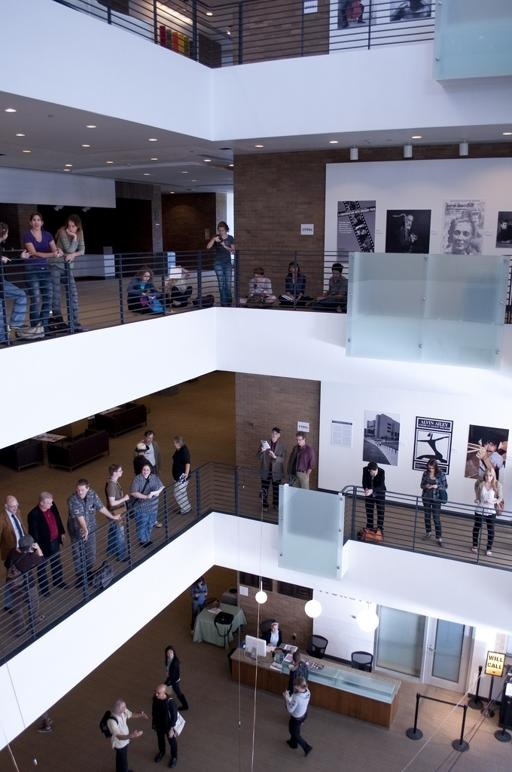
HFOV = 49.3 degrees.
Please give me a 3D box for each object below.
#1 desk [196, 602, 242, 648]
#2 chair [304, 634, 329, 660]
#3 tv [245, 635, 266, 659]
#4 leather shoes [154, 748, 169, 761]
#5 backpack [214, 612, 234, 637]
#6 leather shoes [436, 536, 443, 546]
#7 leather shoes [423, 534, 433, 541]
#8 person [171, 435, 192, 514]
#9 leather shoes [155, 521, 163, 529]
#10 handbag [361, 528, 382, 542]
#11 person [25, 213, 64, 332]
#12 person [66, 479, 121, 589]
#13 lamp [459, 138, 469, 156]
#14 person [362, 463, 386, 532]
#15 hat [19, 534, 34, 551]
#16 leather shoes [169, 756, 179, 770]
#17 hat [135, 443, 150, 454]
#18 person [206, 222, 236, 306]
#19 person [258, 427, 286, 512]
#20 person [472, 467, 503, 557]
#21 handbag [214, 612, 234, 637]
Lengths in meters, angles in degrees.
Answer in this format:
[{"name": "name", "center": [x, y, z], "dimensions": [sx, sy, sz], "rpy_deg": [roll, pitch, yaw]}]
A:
[{"name": "desk", "center": [-0.585, 3.512, 8.204], "dimensions": [0.525, 0.290, 0.521], "rpy_deg": [8, 16, 26]}, {"name": "chair", "center": [0.884, 3.685, 8.072], "dimensions": [0.286, 0.492, 0.328], "rpy_deg": [3, 29, 12]}, {"name": "tv", "center": [-0.010, 3.565, 7.583], "dimensions": [0.220, 0.169, 0.074], "rpy_deg": [10, 21, 28]}, {"name": "leather shoes", "center": [-1.019, 3.966, 6.029], "dimensions": [0.064, 0.081, 0.195], "rpy_deg": [10, 8, 14]}, {"name": "backpack", "center": [-0.446, 3.431, 8.059], "dimensions": [0.093, 0.343, 0.225], "rpy_deg": [-1, 8, -39]}, {"name": "leather shoes", "center": [1.790, 1.507, 5.452], "dimensions": [0.040, 0.143, 0.057], "rpy_deg": [-8, -6, 17]}, {"name": "leather shoes", "center": [1.729, 1.533, 5.601], "dimensions": [0.039, 0.049, 0.110], "rpy_deg": [-1, -9, 30]}, {"name": "person", "center": [-0.761, 0.921, 5.734], "dimensions": [0.207, 0.890, 0.867], "rpy_deg": [2, 7, -6]}, {"name": "leather shoes", "center": [-0.936, 1.353, 5.435], "dimensions": [0.051, 0.043, 0.121], "rpy_deg": [39, -31, -25]}, {"name": "handbag", "center": [1.138, 1.462, 5.464], "dimensions": [0.137, 0.063, 0.111], "rpy_deg": [3, 16, 13]}, {"name": "person", "center": [-1.442, -0.737, 3.784], "dimensions": [0.219, 0.769, 0.497], "rpy_deg": [0, 7, -21]}, {"name": "person", "center": [-1.277, 1.102, 4.244], "dimensions": [0.366, 0.762, 0.738], "rpy_deg": [4, 7, 5]}, {"name": "lamp", "center": [2.042, -2.327, 5.487], "dimensions": [0.093, 0.136, 0.312], "rpy_deg": [5, 7, 18]}, {"name": "person", "center": [1.199, 1.139, 5.691], "dimensions": [0.252, 0.736, 0.561], "rpy_deg": [5, 7, 14]}, {"name": "hat", "center": [-1.466, 1.003, 3.592], "dimensions": [0.069, 0.100, 0.095], "rpy_deg": [4, 20, -5]}, {"name": "leather shoes", "center": [-0.871, 3.988, 5.888], "dimensions": [0.057, 0.084, 0.117], "rpy_deg": [4, -12, -2]}, {"name": "hat", "center": [-1.158, 0.660, 5.673], "dimensions": [0.108, 0.156, 0.082], "rpy_deg": [10, 46, -15]}, {"name": "person", "center": [-0.377, -1.336, 6.085], "dimensions": [0.278, 0.950, 0.721], "rpy_deg": [2, 7, -5]}, {"name": "person", "center": [0.167, 0.925, 6.243], "dimensions": [0.297, 0.919, 0.289], "rpy_deg": [-2, 20, -14]}, {"name": "person", "center": [2.102, 1.161, 5.092], "dimensions": [0.242, 0.845, 0.581], "rpy_deg": [6, 7, 23]}, {"name": "handbag", "center": [-0.451, 3.436, 8.056], "dimensions": [0.229, 0.349, 0.095], "rpy_deg": [11, 10, 43]}]
